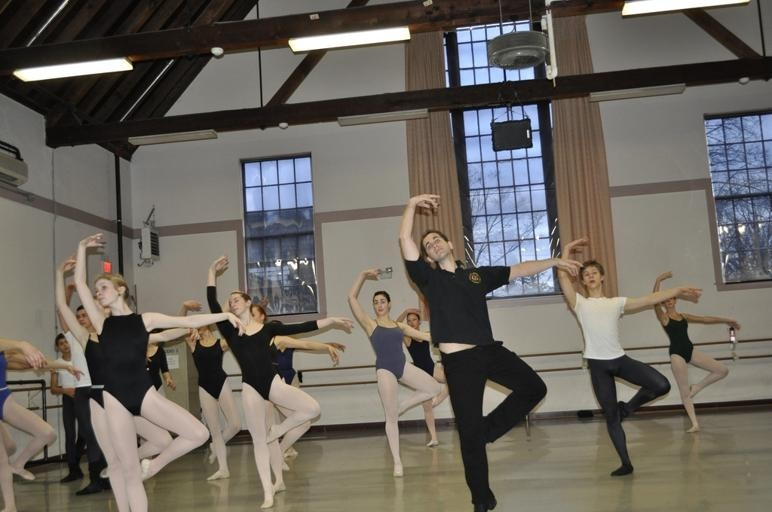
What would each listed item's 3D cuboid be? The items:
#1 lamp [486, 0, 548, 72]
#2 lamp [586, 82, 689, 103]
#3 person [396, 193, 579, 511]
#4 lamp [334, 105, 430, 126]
[{"bbox_3d":[1.786,-2.857,9.472,0.703,1.044,0.719,-3,-9,28],"label":"lamp"},{"bbox_3d":[3.890,-2.546,11.204,1.457,0.217,0.238,-4,-2,1],"label":"lamp"},{"bbox_3d":[0.886,0.979,7.135,1.344,2.480,0.491,-3,-2,-17],"label":"person"},{"bbox_3d":[-0.072,-2.248,11.458,1.527,0.230,0.154,-5,-7,2],"label":"lamp"}]
